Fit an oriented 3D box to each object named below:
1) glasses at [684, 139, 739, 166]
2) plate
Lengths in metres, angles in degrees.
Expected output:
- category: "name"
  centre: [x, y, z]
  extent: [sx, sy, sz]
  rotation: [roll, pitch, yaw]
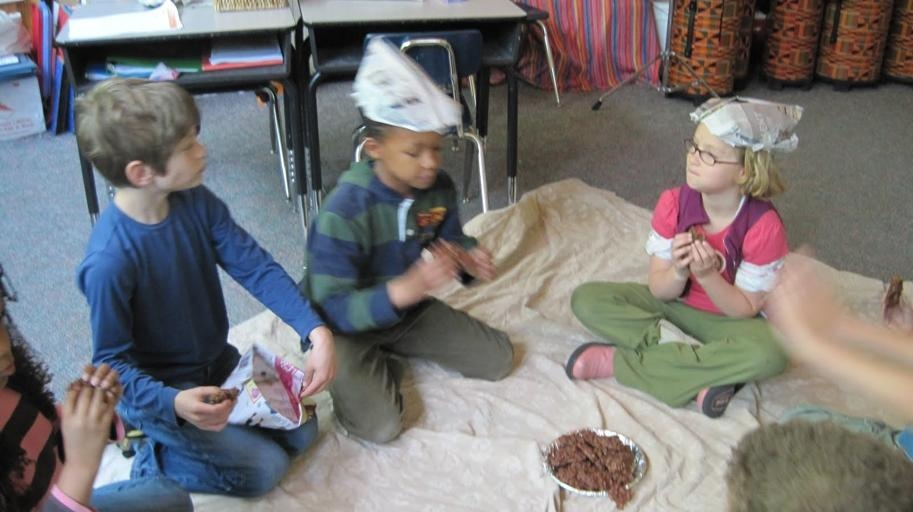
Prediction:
- category: "glasses"
  centre: [0.976, -0.369, 2.681]
  extent: [0.135, 0.040, 0.134]
  rotation: [-3, 30, -27]
- category: "plate"
  centre: [0.506, 0.737, 2.570]
  extent: [0.377, 0.134, 0.219]
  rotation: [-7, 28, -9]
